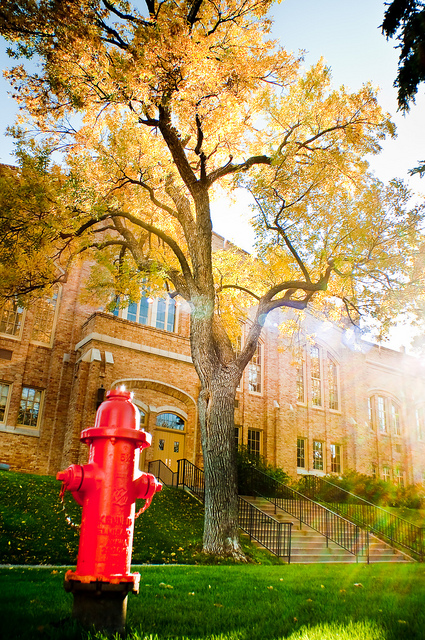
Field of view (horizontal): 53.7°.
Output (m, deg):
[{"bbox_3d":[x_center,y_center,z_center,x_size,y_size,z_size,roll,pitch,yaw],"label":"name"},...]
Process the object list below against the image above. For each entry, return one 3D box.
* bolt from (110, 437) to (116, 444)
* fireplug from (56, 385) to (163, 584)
[{"bbox_3d":[-0.496,0.595,2.079,0.029,0.050,0.026,9,-27,-29],"label":"bolt"},{"bbox_3d":[-0.504,0.774,2.123,0.508,0.959,0.449,10,-23,-13],"label":"fireplug"}]
